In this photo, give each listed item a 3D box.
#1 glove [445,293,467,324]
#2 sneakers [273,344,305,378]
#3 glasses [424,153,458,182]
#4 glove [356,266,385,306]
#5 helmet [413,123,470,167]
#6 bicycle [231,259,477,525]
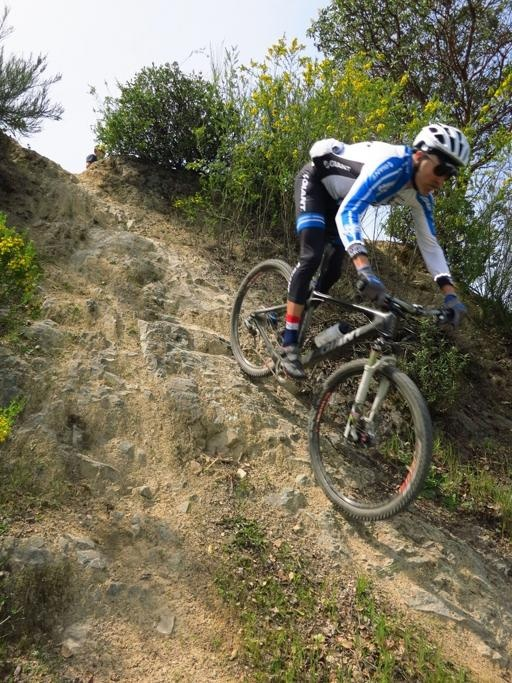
[{"bbox_3d":[1.207,-0.195,3.187,0.104,0.073,0.201,-1,53,-8],"label":"glove"},{"bbox_3d":[0.250,0.127,3.803,0.110,0.135,0.296,8,27,-29],"label":"sneakers"},{"bbox_3d":[1.122,-1.057,3.185,0.133,0.097,0.180,1,50,-39],"label":"glasses"},{"bbox_3d":[0.687,-0.334,3.074,0.194,0.216,0.123,13,-1,-4],"label":"glove"},{"bbox_3d":[1.125,-1.177,3.196,0.221,0.161,0.330,-3,43,-19],"label":"helmet"},{"bbox_3d":[0.481,0.252,3.751,0.601,1.634,2.069,13,0,-23],"label":"bicycle"}]
